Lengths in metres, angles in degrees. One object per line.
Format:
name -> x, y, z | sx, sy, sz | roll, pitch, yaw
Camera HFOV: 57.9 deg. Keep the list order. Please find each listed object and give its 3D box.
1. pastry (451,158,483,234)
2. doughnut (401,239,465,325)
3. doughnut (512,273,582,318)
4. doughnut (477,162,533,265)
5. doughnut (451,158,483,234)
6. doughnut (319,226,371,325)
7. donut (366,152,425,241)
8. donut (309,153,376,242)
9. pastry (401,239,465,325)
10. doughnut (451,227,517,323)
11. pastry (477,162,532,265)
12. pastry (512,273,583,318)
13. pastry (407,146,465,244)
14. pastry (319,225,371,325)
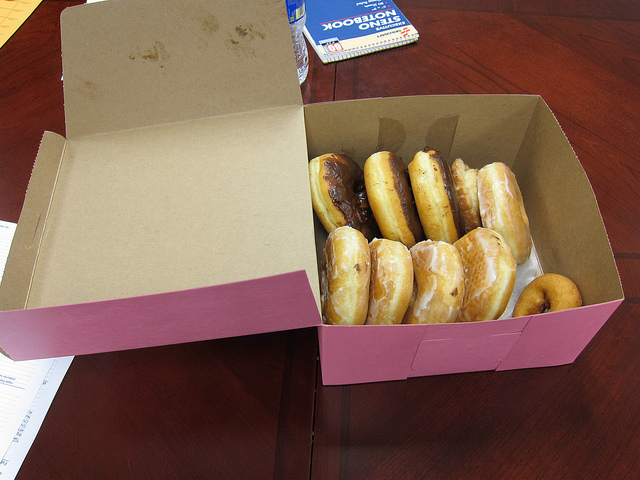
pastry -> 0.261, -0.083, 1.023 | 0.036, 0.101, 0.104 | -10, 67, 8
doughnut -> 0.165, 0.055, 0.851 | 0.035, 0.116, 0.124 | 19, 64, -23
doughnut -> 0.348, 0.084, 0.893 | 0.027, 0.071, 0.078 | 8, 70, -42
doughnut -> 0.314, -0.054, 1.035 | 0.045, 0.156, 0.143 | -12, 3, 31
doughnut -> 0.263, -0.079, 1.034 | 0.035, 0.106, 0.101 | -11, 30, 9
doughnut -> 0.039, 0.058, 0.885 | 0.074, 0.084, 0.148 | 2, 53, 4
donut -> 0.124, -0.067, 0.994 | 0.039, 0.129, 0.127 | -13, 24, 3
donut -> 0.032, -0.057, 1.037 | 0.042, 0.144, 0.148 | -20, 37, 21
pastry -> 0.165, 0.050, 0.845 | 0.035, 0.115, 0.124 | 20, 65, -31
doughnut -> 0.251, 0.038, 0.854 | 0.038, 0.124, 0.137 | 22, 69, -30
pastry -> 0.306, -0.045, 0.997 | 0.044, 0.150, 0.147 | -12, 42, 21
pastry -> 0.350, 0.087, 0.892 | 0.030, 0.085, 0.078 | 12, 7, -41
pastry -> 0.204, -0.098, 1.012 | 0.095, 0.103, 0.208 | -4, 53, -1
pastry -> 0.037, 0.059, 0.866 | 0.065, 0.128, 0.105 | -13, 55, -19
